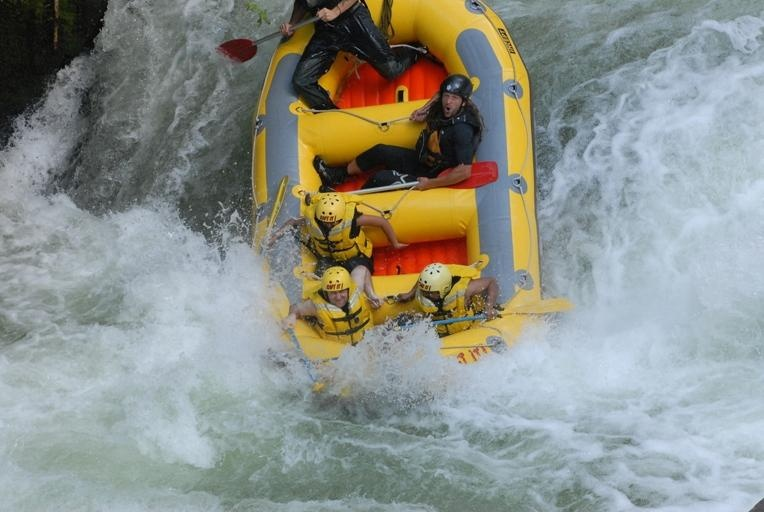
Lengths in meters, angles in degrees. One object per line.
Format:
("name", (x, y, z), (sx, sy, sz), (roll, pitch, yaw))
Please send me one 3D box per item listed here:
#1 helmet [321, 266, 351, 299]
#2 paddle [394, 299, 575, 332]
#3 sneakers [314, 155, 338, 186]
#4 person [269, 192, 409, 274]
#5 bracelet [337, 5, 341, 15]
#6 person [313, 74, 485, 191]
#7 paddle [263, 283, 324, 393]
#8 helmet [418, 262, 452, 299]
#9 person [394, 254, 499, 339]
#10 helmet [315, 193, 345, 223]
("helmet", (-0.448, 0.242, 9.461), (0.222, 0.247, 0.301), (-4, 23, 8))
("paddle", (0.928, 0.577, 9.620), (1.703, 0.246, 0.097), (-7, -12, 0))
("sneakers", (-0.594, -0.894, 10.381), (0.161, 0.416, 0.141), (8, 47, 46))
("person", (-0.467, -0.146, 10.046), (1.158, 1.149, 0.700), (10, 51, 18))
("bracelet", (-0.460, -2.600, 10.172), (0.055, 0.076, 0.022), (-1, -3, 11))
("person", (0.149, -1.201, 10.112), (1.867, 1.120, 1.083), (-8, 32, 0))
("paddle", (-0.881, 0.854, 9.589), (0.166, 0.176, 1.246), (2, 50, -56))
("helmet", (0.523, 0.237, 9.477), (0.259, 0.284, 0.345), (19, 7, 33))
("person", (0.664, 0.433, 9.640), (0.717, 0.836, 0.300), (-4, 8, 17))
("helmet", (-0.527, -0.480, 9.748), (0.316, 0.282, 0.214), (1, 15, -5))
